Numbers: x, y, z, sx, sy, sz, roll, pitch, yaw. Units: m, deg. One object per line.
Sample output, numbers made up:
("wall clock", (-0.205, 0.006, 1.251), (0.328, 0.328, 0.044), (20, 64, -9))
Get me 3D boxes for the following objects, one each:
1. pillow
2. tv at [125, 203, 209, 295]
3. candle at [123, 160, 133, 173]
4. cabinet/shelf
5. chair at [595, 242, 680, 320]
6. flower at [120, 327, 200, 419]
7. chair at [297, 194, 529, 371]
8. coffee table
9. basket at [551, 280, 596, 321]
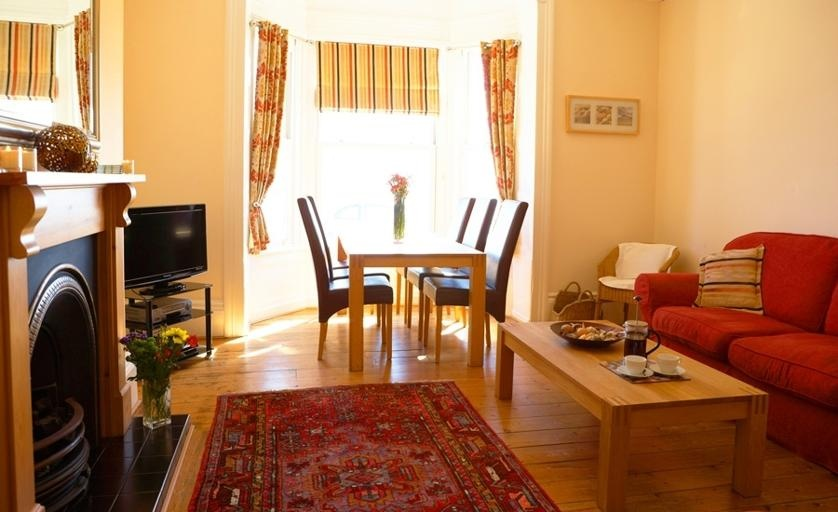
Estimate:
("pillow", (2.491, 0.207, 4.771), (0.576, 0.562, 0.233), (-1, -27, 46))
("tv", (-2.140, -0.071, 4.975), (0.228, 0.672, 0.995), (6, 9, 20))
("candle", (-1.814, -0.549, 3.740), (0.057, 0.079, 0.170), (-8, 14, -29))
("cabinet/shelf", (-2.008, 0.608, 5.069), (0.638, 0.673, 0.803), (6, 8, 36))
("chair", (2.148, 0.304, 5.924), (0.697, 0.797, 0.675), (-2, 6, -23))
("flower", (-1.731, 0.778, 3.849), (0.561, 0.576, 0.545), (-9, -18, -6))
("chair", (-0.006, 0.246, 5.443), (1.785, 1.054, 1.660), (1, 6, -1))
("coffee table", (1.418, 0.729, 3.675), (1.074, 0.510, 1.507), (1, 5, -9))
("basket", (1.566, 0.438, 6.089), (0.452, 0.385, 0.354), (-3, 8, -15))
